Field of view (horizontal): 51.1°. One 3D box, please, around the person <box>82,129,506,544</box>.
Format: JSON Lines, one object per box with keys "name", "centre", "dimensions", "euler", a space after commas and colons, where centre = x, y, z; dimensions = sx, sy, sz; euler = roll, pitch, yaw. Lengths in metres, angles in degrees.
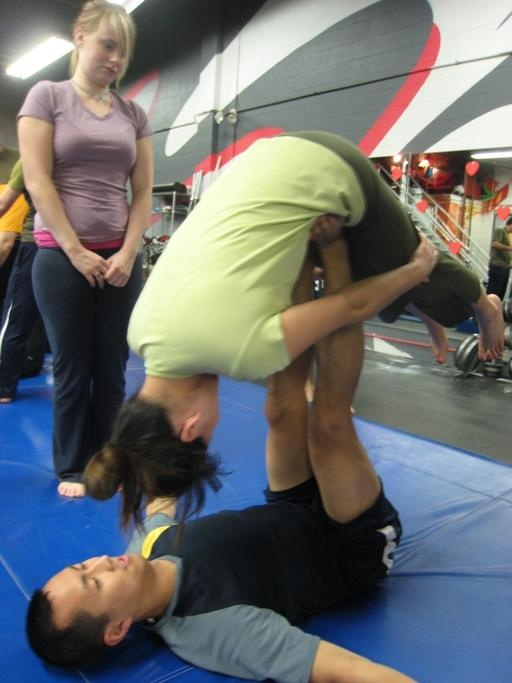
{"name": "person", "centre": [0.025, -0.069, 1.221], "dimensions": [0.805, 0.834, 0.294], "euler": [-1, 11, -21]}
